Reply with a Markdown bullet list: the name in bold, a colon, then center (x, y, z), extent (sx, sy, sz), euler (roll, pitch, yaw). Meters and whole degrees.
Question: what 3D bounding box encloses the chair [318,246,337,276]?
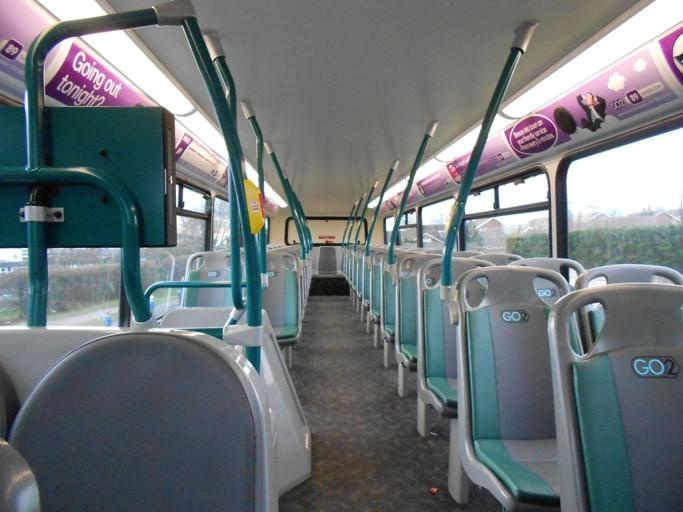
- **chair**: center (-0.532, 0.141, 14.277), extent (0.651, 1.051, 0.714), euler (-2, -1, 25)
